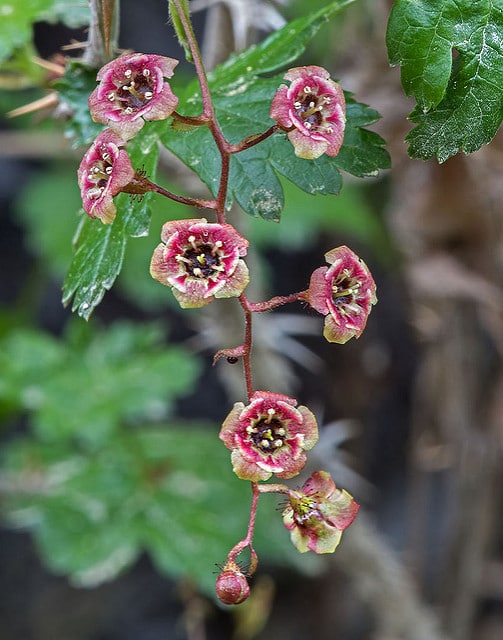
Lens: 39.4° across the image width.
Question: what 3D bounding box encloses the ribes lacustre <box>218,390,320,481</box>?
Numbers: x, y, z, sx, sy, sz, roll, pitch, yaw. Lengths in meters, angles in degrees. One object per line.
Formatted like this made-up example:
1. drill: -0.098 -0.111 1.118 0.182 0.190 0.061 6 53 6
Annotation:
1. ribes lacustre: 0.023 0.171 1.012 0.128 0.059 0.131 24 74 9

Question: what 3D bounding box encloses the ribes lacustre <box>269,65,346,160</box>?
1. ribes lacustre: 0.084 -0.298 1.019 0.103 0.081 0.139 6 72 4

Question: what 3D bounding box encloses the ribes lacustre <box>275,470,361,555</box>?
1. ribes lacustre: 0.102 0.289 1.047 0.119 0.127 0.117 -41 80 -8

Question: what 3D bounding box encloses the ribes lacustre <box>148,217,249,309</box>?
1. ribes lacustre: -0.073 -0.115 1.027 0.068 0.153 0.152 25 58 4

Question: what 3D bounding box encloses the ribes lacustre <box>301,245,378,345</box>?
1. ribes lacustre: 0.135 -0.029 1.068 0.083 0.155 0.150 -7 45 -5

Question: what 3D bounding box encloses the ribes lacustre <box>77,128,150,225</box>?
1. ribes lacustre: -0.211 -0.208 1.015 0.054 0.116 0.122 4 52 -38
